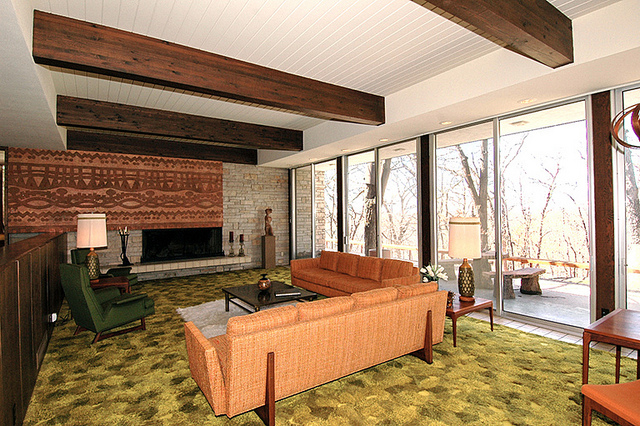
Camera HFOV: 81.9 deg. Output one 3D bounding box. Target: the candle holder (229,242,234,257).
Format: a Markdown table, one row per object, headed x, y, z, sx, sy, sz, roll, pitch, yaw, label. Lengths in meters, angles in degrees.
| x | y | z | sx | sy | sz | roll | pitch | yaw | label |
| --- | --- | --- | --- | --- | --- | --- | --- | --- | --- |
| -2.363 | 0.945 | 9.837 | 0.114 | 0.374 | 0.320 | 0 | -1 | -13 | candle holder |

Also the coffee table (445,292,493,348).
| x | y | z | sx | sy | sz | roll | pitch | yaw | label |
| --- | --- | --- | --- | --- | --- | --- | --- | --- | --- |
| 1.930 | 1.526 | 5.505 | 0.937 | 0.466 | 0.848 | -4 | 4 | -37 | coffee table |

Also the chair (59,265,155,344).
| x | y | z | sx | sy | sz | roll | pitch | yaw | label |
| --- | --- | --- | --- | --- | --- | --- | --- | --- | --- |
| -3.278 | 1.315 | 5.661 | 1.183 | 1.203 | 1.360 | 1 | 0 | 42 | chair |

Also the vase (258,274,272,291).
| x | y | z | sx | sy | sz | roll | pitch | yaw | label |
| --- | --- | --- | --- | --- | --- | --- | --- | --- | --- |
| -0.921 | 1.160 | 6.214 | 0.254 | 0.296 | 0.241 | 1 | 5 | 4 | vase |

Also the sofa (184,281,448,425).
| x | y | z | sx | sy | sz | roll | pitch | yaw | label |
| --- | --- | --- | --- | --- | --- | --- | --- | --- | --- |
| 0.046 | 1.525 | 4.155 | 2.757 | 1.267 | 0.482 | 0 | -1 | -23 | sofa |

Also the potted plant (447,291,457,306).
| x | y | z | sx | sy | sz | roll | pitch | yaw | label |
| --- | --- | --- | --- | --- | --- | --- | --- | --- | --- |
| 1.791 | 1.186 | 5.122 | 0.173 | 0.155 | 0.163 | -1 | 0 | -29 | potted plant |

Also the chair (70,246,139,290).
| x | y | z | sx | sy | sz | roll | pitch | yaw | label |
| --- | --- | --- | --- | --- | --- | --- | --- | --- | --- |
| -4.116 | 1.144 | 7.072 | 1.061 | 0.943 | 0.756 | -2 | -6 | -15 | chair |

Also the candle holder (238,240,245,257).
| x | y | z | sx | sy | sz | roll | pitch | yaw | label |
| --- | --- | --- | --- | --- | --- | --- | --- | --- | --- |
| -2.133 | 0.930 | 9.969 | 0.164 | 0.430 | 0.353 | 0 | -1 | -12 | candle holder |

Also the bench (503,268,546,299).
| x | y | z | sx | sy | sz | roll | pitch | yaw | label |
| --- | --- | --- | --- | --- | --- | --- | --- | --- | --- |
| 3.218 | 1.083 | 5.864 | 0.758 | 0.311 | 0.474 | -2 | -1 | -9 | bench |
